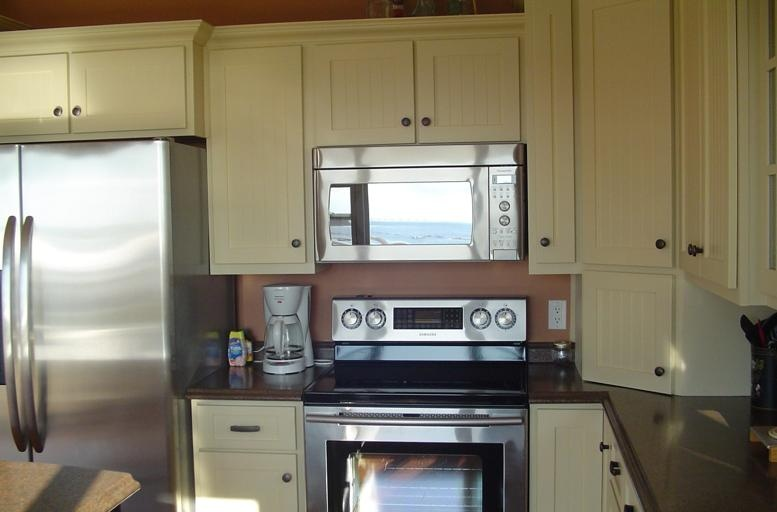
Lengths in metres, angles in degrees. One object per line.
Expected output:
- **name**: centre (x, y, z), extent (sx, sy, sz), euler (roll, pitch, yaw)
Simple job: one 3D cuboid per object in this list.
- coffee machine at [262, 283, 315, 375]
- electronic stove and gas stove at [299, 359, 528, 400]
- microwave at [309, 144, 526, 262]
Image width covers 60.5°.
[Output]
- **coffee machine**: centre (-0.537, 0.394, 3.530), extent (0.221, 0.503, 0.217), euler (1, 8, 1)
- **electronic stove and gas stove**: centre (0.161, 0.628, 3.350), extent (1.094, 0.116, 0.440), euler (-1, 4, 5)
- **microwave**: centre (0.182, -0.274, 3.636), extent (0.927, 0.624, 0.579), euler (1, 7, 6)
